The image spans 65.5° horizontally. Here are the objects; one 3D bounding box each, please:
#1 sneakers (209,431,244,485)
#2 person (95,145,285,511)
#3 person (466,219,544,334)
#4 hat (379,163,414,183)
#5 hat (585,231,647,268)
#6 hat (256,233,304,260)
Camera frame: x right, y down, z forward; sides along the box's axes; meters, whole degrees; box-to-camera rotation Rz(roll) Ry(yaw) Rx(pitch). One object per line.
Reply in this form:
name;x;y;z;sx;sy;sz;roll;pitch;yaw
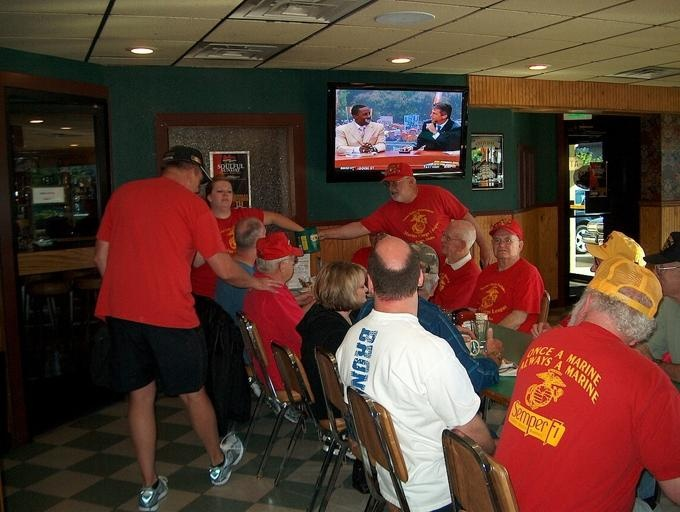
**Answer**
sneakers;-0.741;1.371;3.641;0.140;0.158;0.367;-6;44;28
person;-1.061;0.436;3.350;0.839;2.242;0.449;-5;7;-24
person;1.178;0.148;4.016;0.656;0.849;0.624;-2;5;-35
hat;0.552;-0.782;4.989;0.263;0.130;0.183;-2;8;1
hat;1.097;-0.034;2.187;0.252;0.138;0.159;13;2;35
hat;-0.399;-0.068;3.582;0.260;0.119;0.167;-6;11;-32
